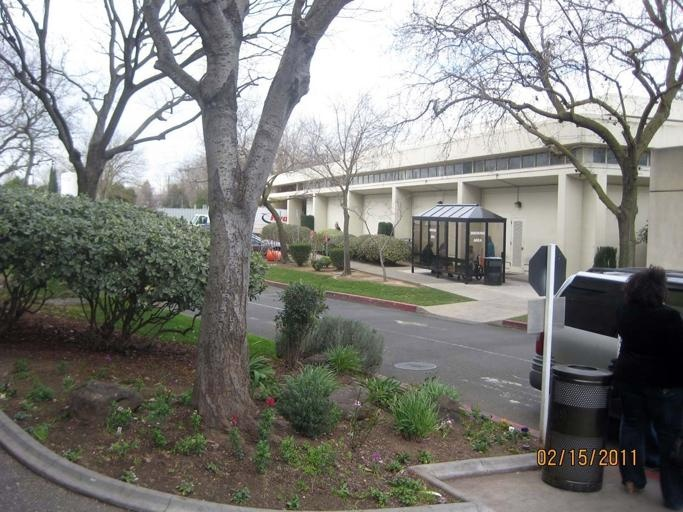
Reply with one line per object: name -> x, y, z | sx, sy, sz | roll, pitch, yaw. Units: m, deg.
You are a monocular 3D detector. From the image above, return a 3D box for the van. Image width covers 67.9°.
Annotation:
van -> 3.901, 1.077, 8.108 | 1.335, 1.438, 2.403 | 1, -2, -37

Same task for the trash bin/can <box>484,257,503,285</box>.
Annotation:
trash bin/can -> 7.426, 0.716, 24.663 | 0.974, 1.355, 0.631 | 2, 0, 0
